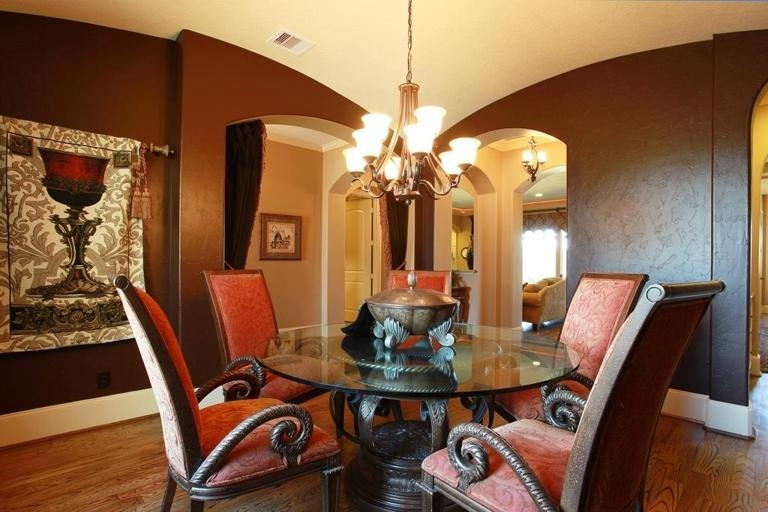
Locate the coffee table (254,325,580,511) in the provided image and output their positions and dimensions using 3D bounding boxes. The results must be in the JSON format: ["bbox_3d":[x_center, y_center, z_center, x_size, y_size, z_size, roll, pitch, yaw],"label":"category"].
[{"bbox_3d":[0.170,0.959,3.667,1.401,0.568,1.415,1,-5,-5],"label":"coffee table"}]

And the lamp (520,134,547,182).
[{"bbox_3d":[1.916,-1.262,6.753,0.334,0.580,0.348,-7,14,-16],"label":"lamp"}]

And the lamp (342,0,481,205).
[{"bbox_3d":[0.152,-1.318,4.600,1.010,1.618,1.827,-1,12,-4],"label":"lamp"}]

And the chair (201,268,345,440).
[{"bbox_3d":[-0.880,0.745,3.862,0.685,1.170,0.796,-7,12,-42],"label":"chair"}]

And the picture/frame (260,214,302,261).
[{"bbox_3d":[-1.450,-0.262,7.292,0.652,0.692,0.051,3,-2,-39],"label":"picture/frame"}]

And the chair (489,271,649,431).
[{"bbox_3d":[1.221,0.825,3.807,1.055,1.368,0.973,3,2,5],"label":"chair"}]
